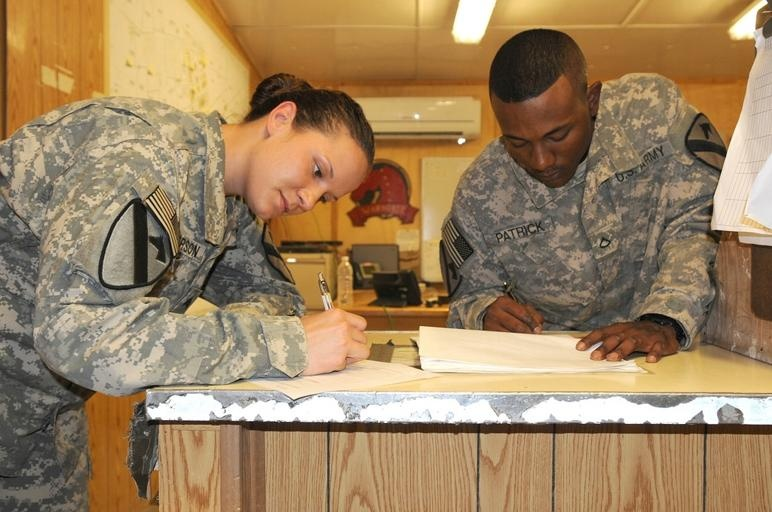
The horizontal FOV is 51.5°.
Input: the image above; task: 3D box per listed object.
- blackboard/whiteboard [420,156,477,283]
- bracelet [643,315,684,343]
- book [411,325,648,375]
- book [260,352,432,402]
[{"bbox_3d":[0.429,-0.284,5.250,0.428,0.756,0.080,-1,-3,30],"label":"blackboard/whiteboard"},{"bbox_3d":[0.760,0.194,2.179,0.068,0.034,0.088,-5,37,-42],"label":"bracelet"},{"bbox_3d":[0.368,0.244,2.158,0.578,0.062,0.336,0,7,1],"label":"book"},{"bbox_3d":[-0.103,0.308,1.977,0.446,0.039,0.163,-1,7,-8],"label":"book"}]
